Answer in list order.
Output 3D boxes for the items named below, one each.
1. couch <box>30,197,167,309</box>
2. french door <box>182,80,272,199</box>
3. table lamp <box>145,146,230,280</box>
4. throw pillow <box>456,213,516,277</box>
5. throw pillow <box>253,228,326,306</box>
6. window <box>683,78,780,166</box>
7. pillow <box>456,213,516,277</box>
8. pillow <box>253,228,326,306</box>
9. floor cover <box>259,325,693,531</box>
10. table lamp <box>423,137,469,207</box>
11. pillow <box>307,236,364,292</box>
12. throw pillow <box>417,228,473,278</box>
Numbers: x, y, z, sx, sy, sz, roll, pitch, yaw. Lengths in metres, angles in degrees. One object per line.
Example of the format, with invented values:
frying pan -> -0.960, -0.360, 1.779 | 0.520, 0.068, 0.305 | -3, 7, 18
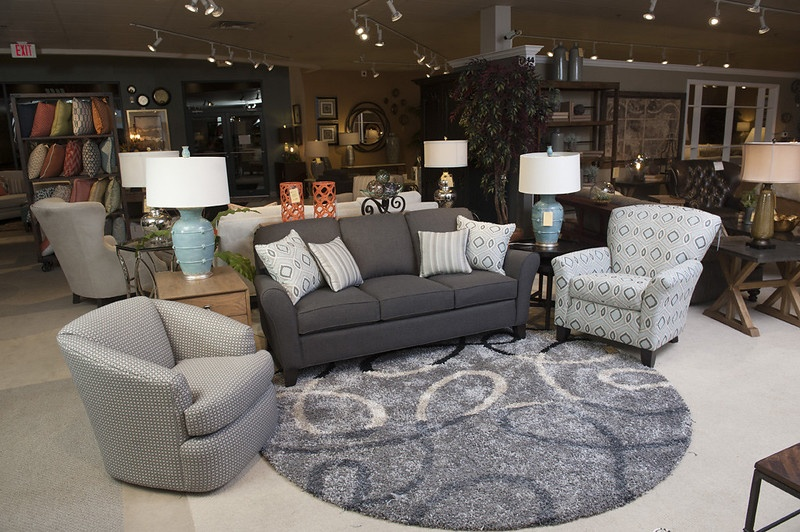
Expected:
couch -> -3.266, -0.213, 5.894 | 1.128, 1.315, 1.203 | 9, 14, 37
french door -> -4.201, -2.920, 12.925 | 1.820, 2.873, 0.305 | -5, -12, -13
table lamp -> -1.740, -0.378, 4.414 | 0.667, 0.989, 0.657 | -1, 8, 12
throw pillow -> 0.774, -0.256, 5.210 | 0.801, 0.430, 0.701 | 2, 34, 8
throw pillow -> -0.995, 0.064, 4.492 | 0.166, 0.541, 0.550 | -36, -6, 36
window -> 6.054, -2.503, 9.909 | 1.854, 1.800, 0.062 | -3, 13, -10
pillow -> 0.779, -0.249, 5.210 | 0.801, 0.430, 0.701 | 2, 34, 8
pillow -> -0.914, -0.012, 4.413 | 0.166, 0.541, 0.550 | -36, -6, 36
floor cover -> 0.575, 1.131, 3.834 | 2.982, 0.371, 1.751 | -4, 14, -10
table lamp -> 0.527, -1.075, 6.336 | 0.534, 0.792, 0.532 | 2, 11, 13
pillow -> -0.562, -0.024, 4.591 | 0.127, 0.422, 0.431 | -33, -8, 31
throw pillow -> 0.404, -0.127, 4.958 | 0.474, 0.431, 0.176 | -2, 5, 8
